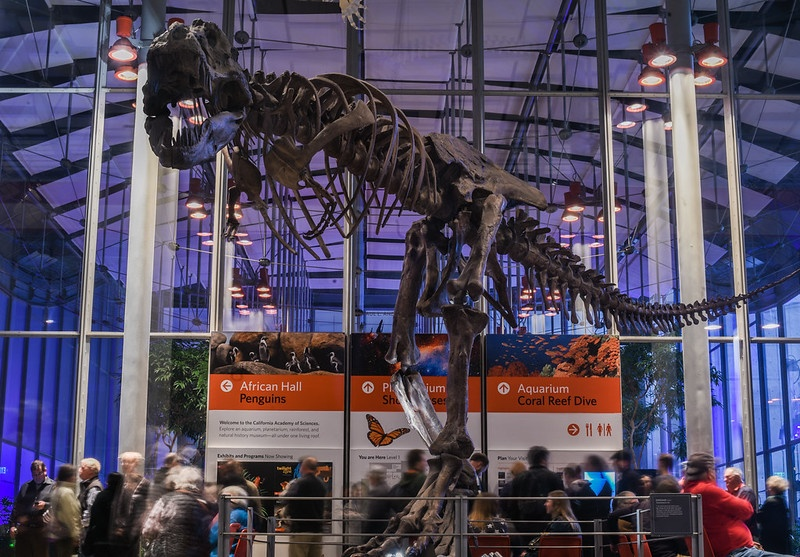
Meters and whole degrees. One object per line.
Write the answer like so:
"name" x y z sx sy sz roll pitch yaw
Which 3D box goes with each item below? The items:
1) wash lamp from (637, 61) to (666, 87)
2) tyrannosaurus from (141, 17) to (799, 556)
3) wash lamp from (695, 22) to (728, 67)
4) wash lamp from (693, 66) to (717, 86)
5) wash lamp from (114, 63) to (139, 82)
"wash lamp" 4.118 -3.308 17.846 0.381 0.423 0.378 5 -33 0
"tyrannosaurus" -0.025 0.339 12.818 6.470 5.687 1.862 17 -24 -39
"wash lamp" 5.060 -3.784 17.555 0.486 0.589 0.553 -1 -1 -25
"wash lamp" 4.985 -3.280 17.847 0.290 0.087 0.289 20 -26 -27
"wash lamp" -4.451 -3.345 17.775 0.338 0.270 0.395 8 -20 -20
